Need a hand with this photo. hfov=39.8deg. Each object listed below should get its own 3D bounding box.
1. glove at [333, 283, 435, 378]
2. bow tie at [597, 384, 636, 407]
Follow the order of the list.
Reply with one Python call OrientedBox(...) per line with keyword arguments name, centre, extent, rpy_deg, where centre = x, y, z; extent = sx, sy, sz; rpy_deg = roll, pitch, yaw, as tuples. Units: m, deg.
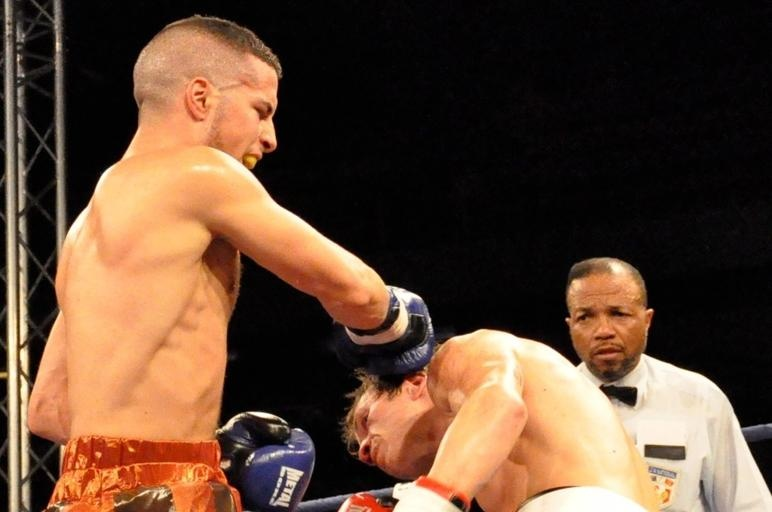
OrientedBox(name="glove", centre=(0.014, 0.389, 5.183), extent=(0.410, 0.181, 0.511), rpy_deg=(-13, -31, 19))
OrientedBox(name="bow tie", centre=(1.390, 0.822, 6.379), extent=(0.177, 0.059, 0.169), rpy_deg=(34, -13, -11))
